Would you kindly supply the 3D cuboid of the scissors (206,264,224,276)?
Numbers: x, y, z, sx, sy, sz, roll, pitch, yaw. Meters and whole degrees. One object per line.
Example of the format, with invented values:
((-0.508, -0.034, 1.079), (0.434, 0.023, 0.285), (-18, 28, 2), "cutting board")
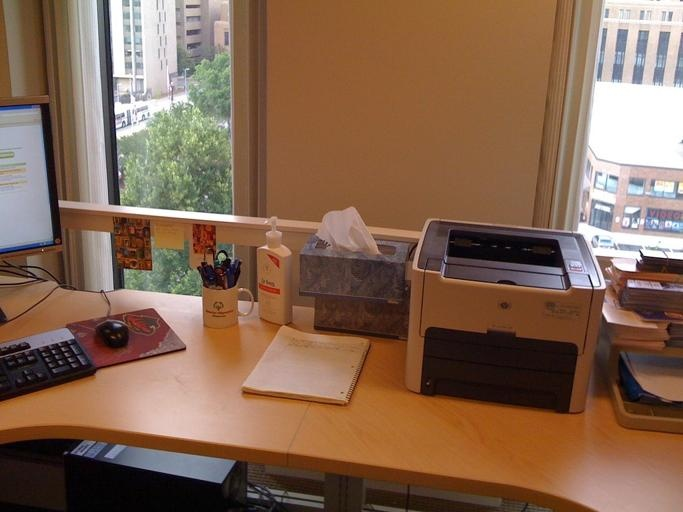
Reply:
((-0.389, 0.041, 1.758), (0.048, 0.018, 0.029), (3, 6, 12), "scissors")

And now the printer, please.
((0.453, 0.144, 1.653), (0.476, 0.359, 0.477), (3, 19, 10), "printer")

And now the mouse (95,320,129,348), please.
((-0.656, 0.210, 1.662), (0.058, 0.038, 0.099), (-12, 29, -32), "mouse")

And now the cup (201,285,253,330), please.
((-0.347, 0.150, 1.794), (0.154, 0.122, 0.104), (2, 14, 4), "cup")
